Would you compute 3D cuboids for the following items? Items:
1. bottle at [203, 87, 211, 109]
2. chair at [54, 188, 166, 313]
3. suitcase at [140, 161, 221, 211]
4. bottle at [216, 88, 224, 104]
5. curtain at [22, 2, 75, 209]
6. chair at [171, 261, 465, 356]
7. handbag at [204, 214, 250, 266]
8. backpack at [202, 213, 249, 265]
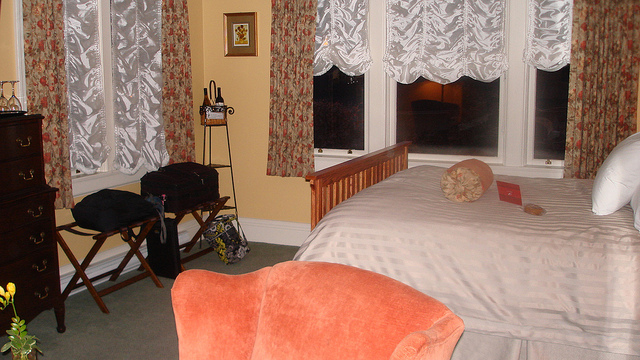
[{"bbox_3d":[-1.515,-1.108,5.958,0.099,0.264,0.494,-4,13,-13],"label":"bottle"},{"bbox_3d":[-2.326,0.701,4.908,0.972,1.213,0.924,-9,15,-34],"label":"chair"},{"bbox_3d":[-1.723,0.045,5.551,0.745,0.469,0.882,5,13,18],"label":"suitcase"},{"bbox_3d":[-1.359,-1.151,6.021,0.089,0.204,0.351,-3,13,-12],"label":"bottle"},{"bbox_3d":[-2.743,-0.753,4.575,0.449,2.122,0.308,-11,16,-38],"label":"curtain"},{"bbox_3d":[-0.055,0.771,2.545,1.638,0.507,0.341,2,13,11],"label":"chair"},{"bbox_3d":[-1.223,0.740,5.727,0.434,0.591,0.444,-14,8,26],"label":"handbag"},{"bbox_3d":[-1.210,0.746,5.714,0.348,0.620,0.491,-16,3,24],"label":"backpack"}]
